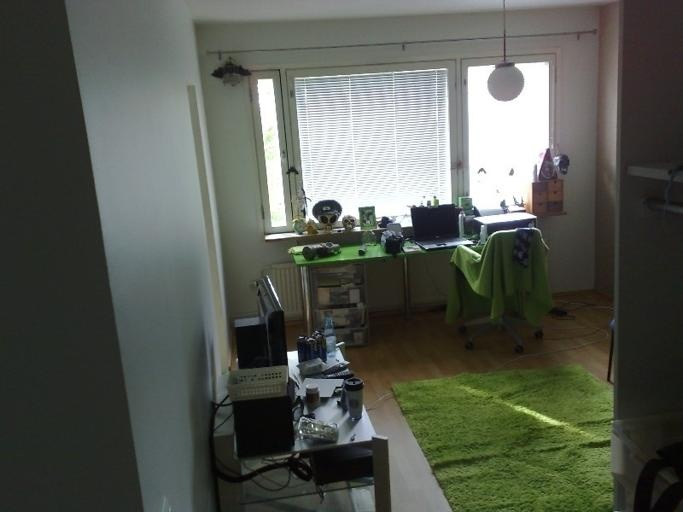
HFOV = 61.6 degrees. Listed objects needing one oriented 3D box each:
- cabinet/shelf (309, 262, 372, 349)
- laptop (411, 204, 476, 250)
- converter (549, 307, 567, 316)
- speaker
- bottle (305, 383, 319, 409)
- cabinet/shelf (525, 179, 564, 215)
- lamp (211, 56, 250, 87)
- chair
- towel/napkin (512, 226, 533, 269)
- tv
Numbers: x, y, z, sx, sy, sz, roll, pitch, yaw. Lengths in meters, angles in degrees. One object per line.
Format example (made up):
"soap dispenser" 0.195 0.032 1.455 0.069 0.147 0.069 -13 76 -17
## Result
"cabinet/shelf" -0.013 0.370 5.332 0.515 0.953 0.332 -5 32 -2
"laptop" 0.938 -0.289 5.400 0.508 0.366 0.458 -5 9 1
"converter" 2.100 0.545 5.598 0.143 0.036 0.139 7 14 35
"speaker" -0.343 0.761 2.802 0.358 0.382 0.273 -2 8 -9
"bottle" -0.152 0.728 2.980 0.075 0.105 0.086 -5 14 -5
"cabinet/shelf" 2.123 -0.614 6.021 0.342 0.352 0.203 -6 14 -5
"lamp" -1.042 -1.722 5.403 0.318 0.248 0.118 -3 29 -13
"chair" 1.339 0.237 4.947 0.746 1.004 0.755 -5 11 -10
"towel/napkin" 1.428 -0.080 4.555 0.160 0.285 0.073 3 7 14
"tv" -0.471 0.438 3.183 0.195 0.537 0.619 -2 14 -17
